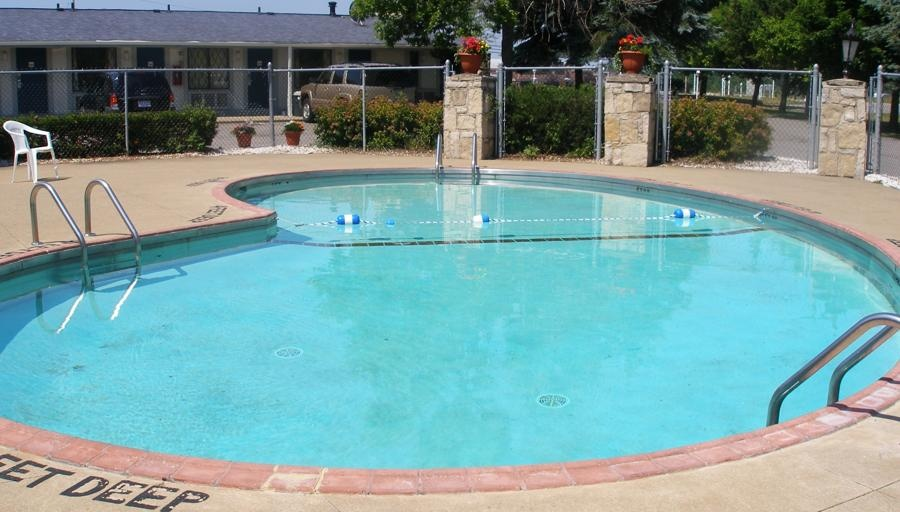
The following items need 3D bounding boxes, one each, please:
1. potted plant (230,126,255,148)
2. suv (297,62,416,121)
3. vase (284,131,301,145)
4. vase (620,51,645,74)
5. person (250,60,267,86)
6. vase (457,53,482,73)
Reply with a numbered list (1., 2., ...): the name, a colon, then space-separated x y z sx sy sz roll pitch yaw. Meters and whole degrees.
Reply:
1. potted plant: -6.887 -3.816 22.279 0.881 0.850 0.911 -5 11 -40
2. suv: -3.982 -6.331 28.207 3.076 2.162 5.179 -11 22 -38
3. vase: -5.269 -3.896 22.707 0.514 0.337 0.483 0 10 -3
4. vase: 4.938 -5.241 18.598 0.699 0.626 0.502 11 17 38
5. person: -9.255 -8.718 32.542 0.718 1.076 1.618 -3 13 -12
6. vase: 0.566 -5.511 19.765 0.640 0.401 0.602 -1 11 1
